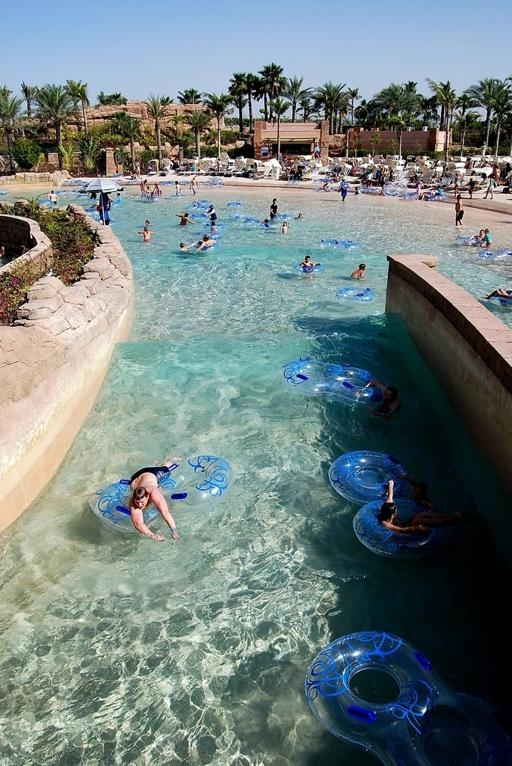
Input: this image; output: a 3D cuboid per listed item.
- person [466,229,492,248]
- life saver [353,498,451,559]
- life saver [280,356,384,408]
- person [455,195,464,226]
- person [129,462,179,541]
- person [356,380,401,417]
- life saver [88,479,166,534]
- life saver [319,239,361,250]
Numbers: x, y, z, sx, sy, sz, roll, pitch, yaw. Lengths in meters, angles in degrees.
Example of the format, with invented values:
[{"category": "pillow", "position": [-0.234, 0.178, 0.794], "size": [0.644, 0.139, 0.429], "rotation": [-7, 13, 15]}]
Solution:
[{"category": "person", "position": [7.575, -4.833, 16.876], "size": [0.640, 0.548, 1.547], "rotation": [-1, 19, 3]}, {"category": "life saver", "position": [1.351, 1.428, 4.797], "size": [0.870, 0.280, 0.600], "rotation": [8, 21, 26]}, {"category": "life saver", "position": [1.077, -0.037, 7.903], "size": [1.129, 0.271, 0.712], "rotation": [16, 38, 21]}, {"category": "person", "position": [8.150, -6.875, 20.130], "size": [0.260, 1.141, 1.210], "rotation": [5, 20, 20]}, {"category": "person", "position": [-1.090, 1.178, 5.209], "size": [0.409, 0.315, 0.785], "rotation": [-26, 27, 7]}, {"category": "person", "position": [1.774, 0.356, 7.301], "size": [0.391, 0.318, 0.707], "rotation": [-2, 42, -9]}, {"category": "life saver", "position": [-1.465, 1.299, 5.297], "size": [0.472, 0.134, 0.481], "rotation": [-1, 24, 0]}, {"category": "life saver", "position": [2.927, -4.888, 17.835], "size": [1.341, 0.284, 1.052], "rotation": [2, 19, 12]}]
